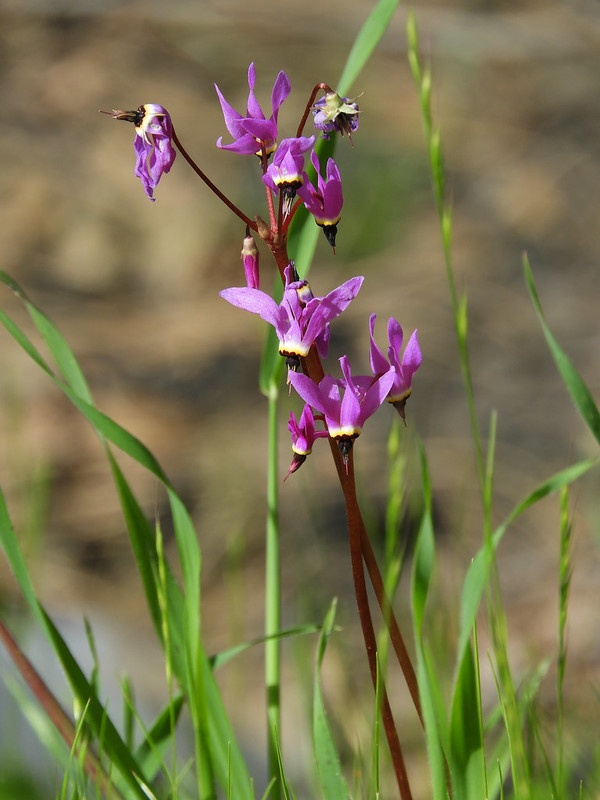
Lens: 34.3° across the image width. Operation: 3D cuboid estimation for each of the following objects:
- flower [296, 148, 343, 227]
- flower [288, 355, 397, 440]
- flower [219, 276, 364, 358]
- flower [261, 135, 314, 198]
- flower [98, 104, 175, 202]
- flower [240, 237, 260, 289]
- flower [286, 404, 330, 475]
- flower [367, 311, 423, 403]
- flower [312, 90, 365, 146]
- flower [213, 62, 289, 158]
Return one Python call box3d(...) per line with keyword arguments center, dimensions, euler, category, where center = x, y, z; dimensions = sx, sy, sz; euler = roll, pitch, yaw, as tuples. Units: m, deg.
box3d(center=(0.023, -0.150, 0.711), dimensions=(0.021, 0.045, 0.025), euler=(-19, 21, 18), category="flower")
box3d(center=(0.032, -0.012, 0.677), dimensions=(0.050, 0.053, 0.060), euler=(-7, 8, -34), category="flower")
box3d(center=(-0.005, -0.058, 0.682), dimensions=(0.096, 0.054, 0.025), euler=(-8, 4, -7), category="flower")
box3d(center=(-0.008, -0.168, 0.689), dimensions=(0.040, 0.035, 0.026), euler=(-6, 4, 13), category="flower")
box3d(center=(-0.113, -0.186, 0.719), dimensions=(0.031, 0.078, 0.039), euler=(-16, 35, -18), category="flower")
box3d(center=(-0.036, -0.106, 0.714), dimensions=(0.012, 0.050, 0.014), euler=(-7, 39, -5), category="flower")
box3d(center=(0.000, 0.024, 0.680), dimensions=(0.033, 0.033, 0.057), euler=(-11, -9, 19), category="flower")
box3d(center=(0.068, -0.025, 0.705), dimensions=(0.033, 0.062, 0.028), euler=(-12, -9, -21), category="flower")
box3d(center=(0.027, -0.210, 0.693), dimensions=(0.026, 0.044, 0.035), euler=(-3, 0, 1), category="flower")
box3d(center=(-0.032, -0.205, 0.700), dimensions=(0.050, 0.063, 0.050), euler=(7, 35, 27), category="flower")
